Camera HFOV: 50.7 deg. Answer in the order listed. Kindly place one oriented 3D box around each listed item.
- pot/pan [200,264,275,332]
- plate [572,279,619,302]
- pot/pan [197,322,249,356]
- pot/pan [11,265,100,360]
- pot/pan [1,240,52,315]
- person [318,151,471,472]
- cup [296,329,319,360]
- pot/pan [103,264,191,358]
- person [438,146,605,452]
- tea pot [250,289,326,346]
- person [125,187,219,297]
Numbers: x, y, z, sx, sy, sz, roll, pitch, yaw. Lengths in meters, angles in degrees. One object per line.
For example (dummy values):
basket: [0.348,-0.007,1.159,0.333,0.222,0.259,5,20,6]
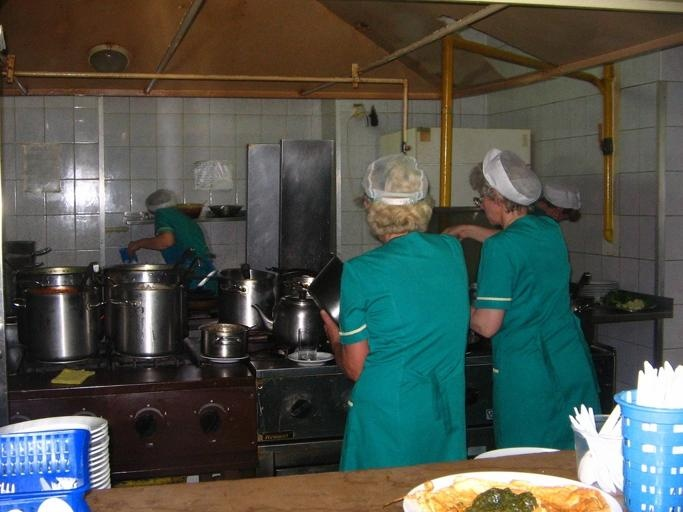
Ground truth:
pot/pan: [-0.428,0.177,3.280,0.289,0.259,0.308,5,3,27]
plate: [1.450,0.187,4.104,0.242,0.113,0.180,-1,0,5]
pot/pan: [-0.487,0.334,2.937,0.144,0.084,0.143,0,0,30]
pot/pan: [-1.102,0.220,2.820,0.329,0.378,0.188,-2,4,-18]
pot/pan: [-1.385,0.095,3.159,0.366,0.302,0.211,0,4,-14]
person: [0.203,0.193,2.405,0.451,1.063,0.247,-1,4,-1]
cup: [-0.133,0.373,2.949,0.089,0.080,0.113,1,-1,8]
pot/pan: [-0.721,0.207,2.964,0.343,0.327,0.357,3,9,9]
person: [0.715,0.274,2.928,0.635,1.455,0.513,-2,32,6]
tea pot: [-0.200,0.277,3.080,0.350,0.187,0.208,1,-1,10]
person: [-1.133,0.035,4.897,0.484,0.965,0.464,14,27,16]
